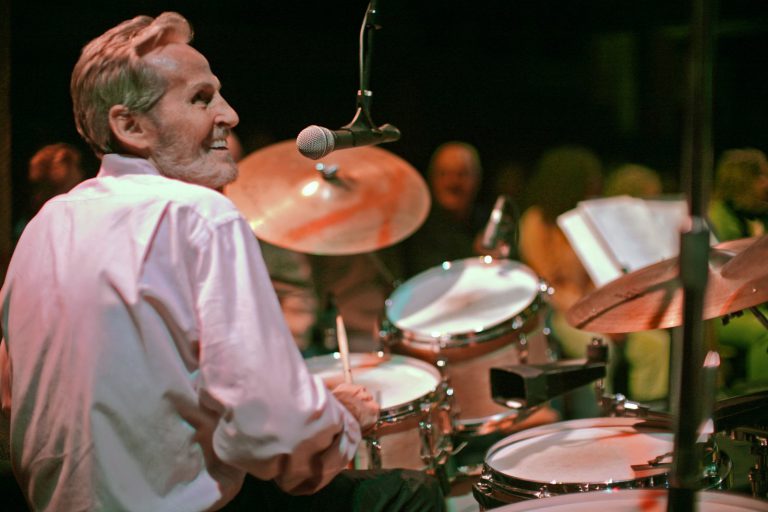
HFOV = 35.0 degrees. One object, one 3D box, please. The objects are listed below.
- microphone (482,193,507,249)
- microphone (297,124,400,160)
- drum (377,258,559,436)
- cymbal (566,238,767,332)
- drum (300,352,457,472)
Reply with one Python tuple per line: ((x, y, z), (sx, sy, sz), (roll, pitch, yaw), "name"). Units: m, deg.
((0.525, -0.169, 5.904), (0.102, 0.274, 0.104), (23, 12, 32), "microphone")
((-0.153, -0.440, 4.683), (0.139, 0.128, 0.452), (20, 16, 40), "microphone")
((0.389, 0.317, 5.792), (0.879, 0.565, 0.823), (-16, 23, 7), "drum")
((1.140, 0.118, 4.673), (0.658, 0.352, 0.696), (-8, -1, -19), "cymbal")
((-0.035, 0.656, 5.256), (0.550, 0.198, 0.520), (-4, 15, 1), "drum")
